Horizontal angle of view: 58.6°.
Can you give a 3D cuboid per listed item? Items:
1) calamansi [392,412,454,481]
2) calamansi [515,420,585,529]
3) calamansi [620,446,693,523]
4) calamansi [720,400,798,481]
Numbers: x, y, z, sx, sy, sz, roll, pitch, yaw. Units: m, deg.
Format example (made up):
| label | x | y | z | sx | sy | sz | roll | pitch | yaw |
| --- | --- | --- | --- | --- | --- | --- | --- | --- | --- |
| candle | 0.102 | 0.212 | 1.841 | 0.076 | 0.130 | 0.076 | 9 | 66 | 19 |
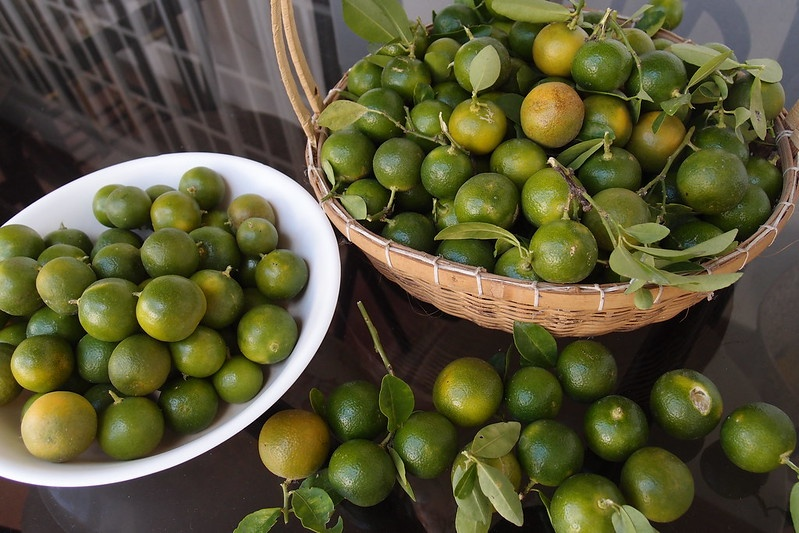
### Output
| label | x | y | z | sx | sy | sz | roll | pitch | yaw |
| --- | --- | --- | --- | --- | --- | --- | --- | --- | --- |
| calamansi | 0.059 | 0.372 | 1.541 | 0.122 | 0.120 | 0.133 | -28 | 79 | 1 |
| calamansi | 0.309 | 0.398 | 1.461 | 0.126 | 0.099 | 0.222 | 20 | 81 | -7 |
| calamansi | 0.523 | 0.443 | 1.488 | 0.119 | 0.116 | 0.155 | -36 | 94 | -30 |
| calamansi | 0.748 | 0.354 | 1.476 | 0.131 | 0.082 | 0.124 | -5 | 59 | -3 |
